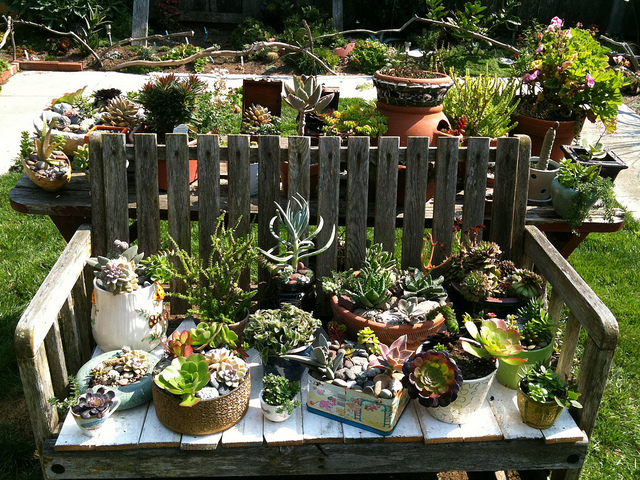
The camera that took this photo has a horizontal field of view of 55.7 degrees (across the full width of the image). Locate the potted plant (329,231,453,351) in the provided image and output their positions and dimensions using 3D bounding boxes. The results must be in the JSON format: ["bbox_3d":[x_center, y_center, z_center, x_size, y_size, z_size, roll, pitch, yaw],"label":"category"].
[{"bbox_3d":[0.345,0.344,3.208,0.523,0.716,0.599,10,20,26],"label":"potted plant"}]

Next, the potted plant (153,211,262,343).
[{"bbox_3d":[-0.547,0.289,3.083,0.326,0.479,0.433,2,-13,-8],"label":"potted plant"}]

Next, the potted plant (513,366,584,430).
[{"bbox_3d":[1.043,0.659,2.767,0.264,0.208,0.269,14,25,20],"label":"potted plant"}]

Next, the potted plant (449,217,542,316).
[{"bbox_3d":[0.926,0.164,3.261,0.479,0.282,0.658,11,27,18],"label":"potted plant"}]

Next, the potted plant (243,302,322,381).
[{"bbox_3d":[-0.189,0.439,2.888,0.325,0.342,0.341,0,2,-21],"label":"potted plant"}]

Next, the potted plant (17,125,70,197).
[{"bbox_3d":[-1.561,-0.463,3.382,0.301,0.392,0.261,3,27,-10],"label":"potted plant"}]

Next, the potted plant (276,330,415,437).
[{"bbox_3d":[0.149,0.555,2.789,0.488,0.307,0.419,11,27,13],"label":"potted plant"}]
